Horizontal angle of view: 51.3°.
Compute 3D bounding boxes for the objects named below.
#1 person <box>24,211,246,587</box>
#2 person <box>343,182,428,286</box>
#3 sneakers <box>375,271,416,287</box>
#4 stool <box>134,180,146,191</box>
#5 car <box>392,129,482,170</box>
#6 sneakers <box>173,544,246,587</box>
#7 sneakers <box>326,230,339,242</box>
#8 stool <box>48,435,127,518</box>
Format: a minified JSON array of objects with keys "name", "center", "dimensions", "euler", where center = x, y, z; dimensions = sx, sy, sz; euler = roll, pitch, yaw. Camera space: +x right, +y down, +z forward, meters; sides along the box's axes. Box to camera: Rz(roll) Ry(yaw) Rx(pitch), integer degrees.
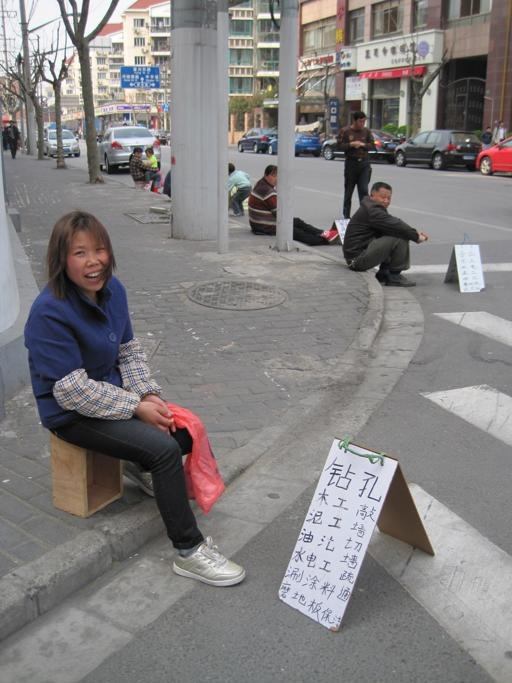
[{"name":"person","center":[-0.534,0.204,2.152],"dimensions":[0.562,1.430,0.772],"euler":[-11,16,-38]},{"name":"person","center":[1.788,-1.547,7.762],"dimensions":[1.078,1.478,0.460],"euler":[2,13,15]},{"name":"sneakers","center":[2.025,-0.913,7.854],"dimensions":[0.644,0.260,0.212],"euler":[0,20,2]},{"name":"stool","center":[-4.207,-5.510,19.007],"dimensions":[0.374,0.403,0.397],"euler":[4,-17,1]},{"name":"car","center":[9.451,-9.979,27.720],"dimensions":[3.926,2.037,1.372],"euler":[10,17,42]},{"name":"sneakers","center":[-0.187,0.885,2.149],"dimensions":[0.301,0.131,0.118],"euler":[6,18,17]},{"name":"sneakers","center":[1.486,-2.100,10.553],"dimensions":[0.263,0.232,0.205],"euler":[1,13,7]},{"name":"stool","center":[-0.771,0.548,2.402],"dimensions":[0.217,0.398,0.237],"euler":[8,18,19]}]
